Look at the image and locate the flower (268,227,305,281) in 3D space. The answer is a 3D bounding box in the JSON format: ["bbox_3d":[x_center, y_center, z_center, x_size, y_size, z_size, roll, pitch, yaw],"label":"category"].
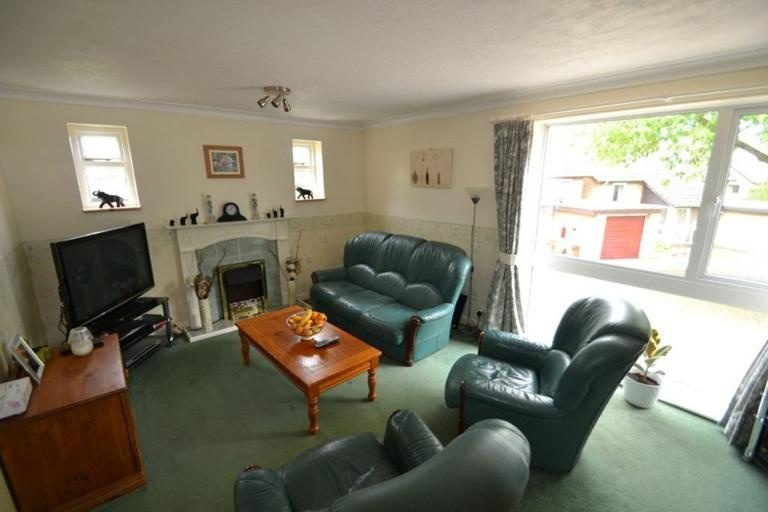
[{"bbox_3d":[-1.246,0.041,6.727,0.283,0.636,0.234,-1,34,-8],"label":"flower"}]

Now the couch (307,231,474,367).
[{"bbox_3d":[-0.028,0.411,6.141,2.039,1.148,1.256,16,24,41],"label":"couch"}]

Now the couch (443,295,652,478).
[{"bbox_3d":[1.440,1.117,4.625,1.682,1.534,1.299,7,19,18],"label":"couch"}]

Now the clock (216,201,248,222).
[{"bbox_3d":[-1.986,-0.580,6.269,0.050,0.180,0.297,-2,2,44],"label":"clock"}]

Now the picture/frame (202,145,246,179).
[{"bbox_3d":[-2.058,-1.212,6.159,0.457,0.384,0.036,-9,17,-38],"label":"picture/frame"}]

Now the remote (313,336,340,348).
[{"bbox_3d":[-0.578,0.868,4.964,0.216,0.022,0.104,-6,10,-42],"label":"remote"}]

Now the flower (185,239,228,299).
[{"bbox_3d":[-2.188,0.173,6.055,0.566,0.646,0.351,-7,15,-30],"label":"flower"}]

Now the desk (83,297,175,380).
[{"bbox_3d":[-2.867,0.889,5.445,0.575,0.603,1.005,0,13,3],"label":"desk"}]

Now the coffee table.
[{"bbox_3d":[-0.738,1.001,4.819,1.031,0.622,1.628,-13,22,-42],"label":"coffee table"}]

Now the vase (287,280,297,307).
[{"bbox_3d":[-1.299,0.489,6.819,0.099,0.376,0.140,0,13,-5],"label":"vase"}]

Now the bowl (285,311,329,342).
[{"bbox_3d":[-0.829,0.693,5.072,0.334,0.219,0.329,1,3,0],"label":"bowl"}]

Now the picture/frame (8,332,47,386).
[{"bbox_3d":[-3.124,0.910,4.217,0.040,0.386,0.295,-29,36,-5],"label":"picture/frame"}]

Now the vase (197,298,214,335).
[{"bbox_3d":[-2.228,0.714,6.046,0.138,0.440,0.221,-5,14,-22],"label":"vase"}]

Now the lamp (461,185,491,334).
[{"bbox_3d":[1.140,-0.258,6.127,0.265,1.366,0.253,11,49,16],"label":"lamp"}]
